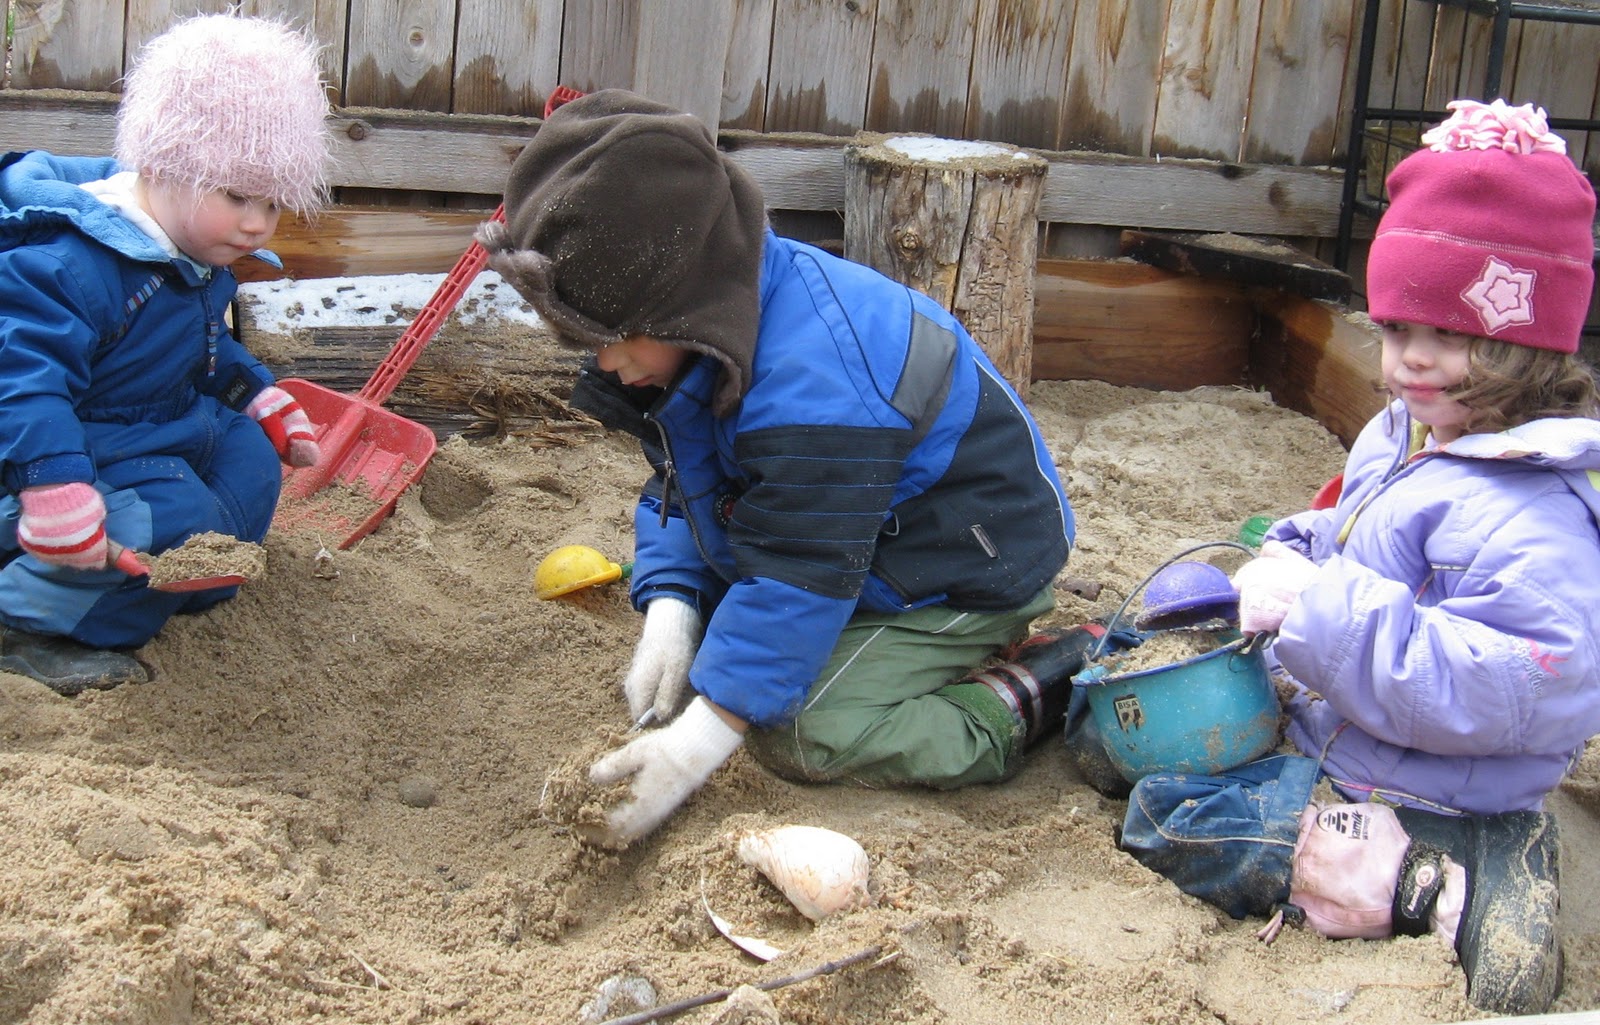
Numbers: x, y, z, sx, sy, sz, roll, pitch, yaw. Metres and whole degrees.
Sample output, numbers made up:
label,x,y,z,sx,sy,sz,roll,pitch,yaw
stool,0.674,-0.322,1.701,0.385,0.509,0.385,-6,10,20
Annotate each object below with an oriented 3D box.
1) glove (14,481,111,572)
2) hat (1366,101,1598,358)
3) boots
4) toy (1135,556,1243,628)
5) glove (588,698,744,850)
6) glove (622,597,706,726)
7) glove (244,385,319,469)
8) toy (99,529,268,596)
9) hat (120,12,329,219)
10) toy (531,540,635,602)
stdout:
label,x,y,z,sx,sy,sz,roll,pitch,yaw
glove,-1.904,0.024,4.017,0.238,0.234,0.175,-10,18,-32
hat,1.654,-0.693,3.679,0.498,0.573,0.238,9,17,18
boots,0.714,0.473,4.113,0.524,0.152,0.130,-18,43,-40
toy,0.988,0.213,3.947,0.190,0.127,0.194,-10,-1,30
glove,-0.344,0.662,3.991,0.262,0.456,0.137,45,-8,6
glove,-0.380,0.420,4.277,0.180,0.336,0.088,0,-30,22
glove,-1.563,-0.253,4.669,0.086,0.287,0.153,-6,33,47
toy,-1.647,0.136,4.146,0.262,0.080,0.182,7,25,-33
hat,-1.566,-1.074,4.287,0.524,0.469,0.529,17,16,-2
toy,-0.680,0.179,4.651,0.156,0.094,0.241,7,13,40
